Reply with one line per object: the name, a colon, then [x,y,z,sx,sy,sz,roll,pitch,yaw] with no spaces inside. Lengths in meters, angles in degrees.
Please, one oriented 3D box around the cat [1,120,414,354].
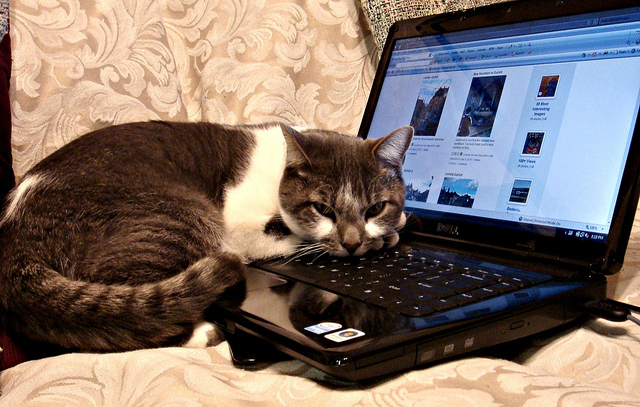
cat: [-0.288,0.058,1.396,0.890,0.308,0.624,-6,29,-27]
